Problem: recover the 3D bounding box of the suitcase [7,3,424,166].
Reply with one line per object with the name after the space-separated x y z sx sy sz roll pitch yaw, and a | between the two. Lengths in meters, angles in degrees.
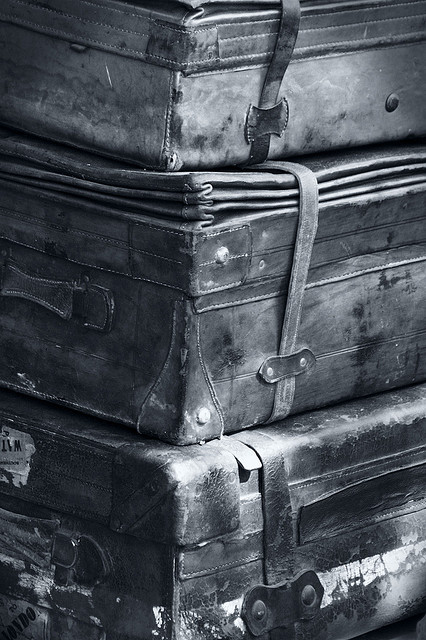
0.039 -0.300 1.359 0.340 0.109 0.339 -13 19 -42 | suitcase
